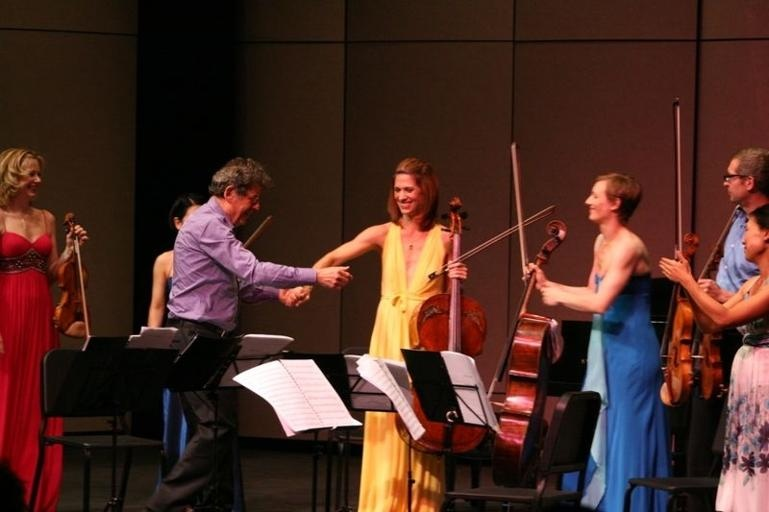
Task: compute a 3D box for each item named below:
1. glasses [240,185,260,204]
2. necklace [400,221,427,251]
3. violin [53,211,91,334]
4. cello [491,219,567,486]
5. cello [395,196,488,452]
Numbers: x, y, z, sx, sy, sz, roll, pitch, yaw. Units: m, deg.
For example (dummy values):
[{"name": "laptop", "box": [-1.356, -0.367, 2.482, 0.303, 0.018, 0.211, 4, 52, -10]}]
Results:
[{"name": "glasses", "box": [-1.013, -0.476, 7.902, 0.134, 0.132, 0.104, -11, -13, 43]}, {"name": "necklace", "box": [0.218, -0.160, 8.027, 0.223, 0.216, 0.083, 0, -4, -11]}, {"name": "violin", "box": [-2.456, 0.133, 8.236, 0.169, 0.961, 0.439, 3, 4, 20]}, {"name": "cello", "box": [1.056, 0.689, 7.704, 0.450, 1.967, 0.789, 6, -2, 19]}, {"name": "cello", "box": [0.456, 0.521, 7.619, 0.607, 1.902, 0.600, 4, 1, 5]}]
